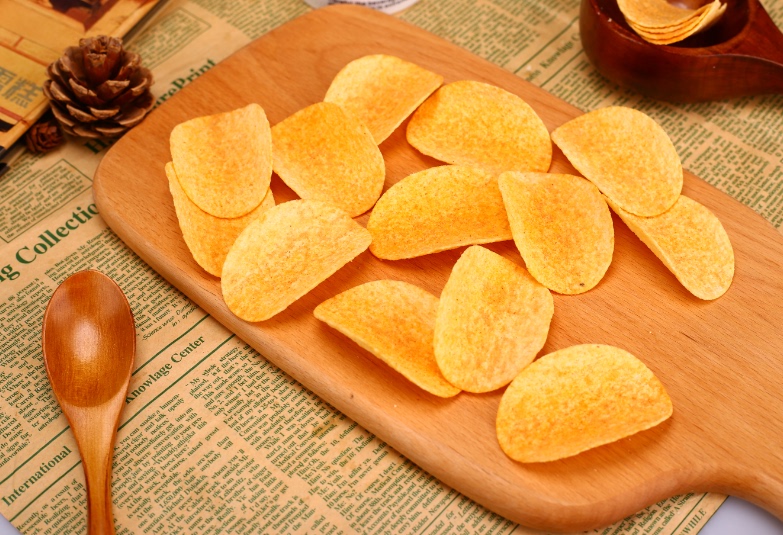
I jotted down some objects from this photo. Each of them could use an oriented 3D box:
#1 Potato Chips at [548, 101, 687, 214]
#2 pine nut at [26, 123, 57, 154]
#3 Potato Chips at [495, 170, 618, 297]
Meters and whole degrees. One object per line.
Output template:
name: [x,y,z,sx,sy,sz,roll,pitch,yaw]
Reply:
Potato Chips: [0.237,-0.101,0.704,0.098,0.029,0.127,-41,78,1]
pine nut: [-0.382,-0.140,0.740,0.031,0.018,0.031,6,99,-5]
Potato Chips: [0.158,-0.033,0.674,0.099,0.025,0.125,-30,87,-17]
